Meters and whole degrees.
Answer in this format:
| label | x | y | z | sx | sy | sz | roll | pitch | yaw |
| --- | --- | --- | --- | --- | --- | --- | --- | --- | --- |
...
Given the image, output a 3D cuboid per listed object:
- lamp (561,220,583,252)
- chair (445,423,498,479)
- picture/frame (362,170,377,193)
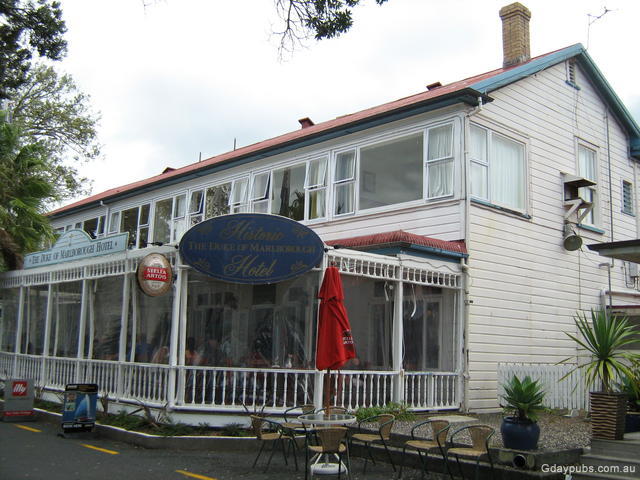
| label | x | y | z | sx | sy | sz | roll | pitch | yaw |
| --- | --- | --- | --- | --- | --- | --- | --- | --- | --- |
| lamp | 7.371 | -0.096 | 18.047 | 0.515 | 0.900 | 0.578 | -2 | -16 | 19 |
| chair | 2.600 | 3.715 | 10.594 | 0.670 | 0.950 | 0.673 | -15 | -31 | 34 |
| picture/frame | 1.429 | -1.751 | 18.377 | 0.039 | 0.515 | 0.728 | -6 | -9 | 30 |
